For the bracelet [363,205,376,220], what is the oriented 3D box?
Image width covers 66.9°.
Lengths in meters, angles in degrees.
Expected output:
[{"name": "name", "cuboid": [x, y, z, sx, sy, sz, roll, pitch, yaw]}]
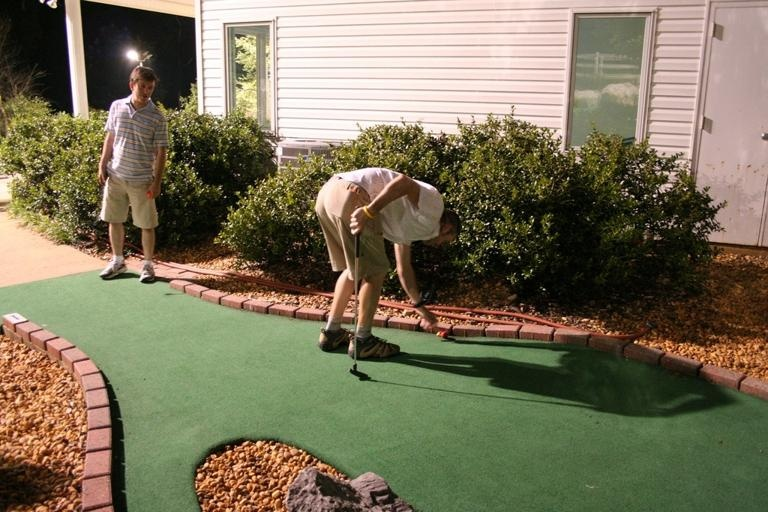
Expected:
[{"name": "bracelet", "cuboid": [-0.125, -0.346, 4.556, 0.076, 0.035, 0.089, 52, 2, 40]}]

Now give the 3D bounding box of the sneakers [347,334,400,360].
[{"name": "sneakers", "cuboid": [-0.081, 0.794, 5.086, 0.469, 0.218, 0.170, -1, 2, -15]}]

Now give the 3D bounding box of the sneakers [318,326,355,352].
[{"name": "sneakers", "cuboid": [-0.435, 0.748, 5.262, 0.141, 0.183, 0.395, 6, 10, 43]}]

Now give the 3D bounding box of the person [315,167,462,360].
[{"name": "person", "cuboid": [0.098, 0.065, 5.156, 1.306, 1.644, 1.141, 0, 8, -20]}]

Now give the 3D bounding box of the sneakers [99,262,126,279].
[{"name": "sneakers", "cuboid": [-3.142, 0.165, 6.729, 0.130, 0.158, 0.337, 1, 13, 35]}]

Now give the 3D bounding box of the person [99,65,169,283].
[{"name": "person", "cuboid": [-2.885, -0.928, 6.615, 0.799, 2.408, 0.366, 4, 9, 4]}]
